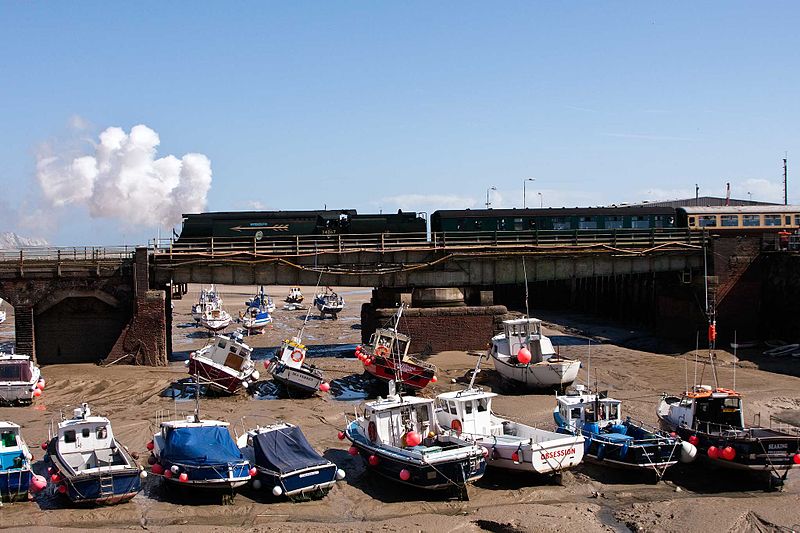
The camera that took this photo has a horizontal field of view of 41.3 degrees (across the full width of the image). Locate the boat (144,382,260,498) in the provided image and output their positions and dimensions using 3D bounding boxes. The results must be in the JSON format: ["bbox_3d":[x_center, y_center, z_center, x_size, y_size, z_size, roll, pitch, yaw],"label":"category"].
[{"bbox_3d":[-8.512,7.433,43.491,2.397,2.680,5.810,2,3,-26],"label":"boat"}]

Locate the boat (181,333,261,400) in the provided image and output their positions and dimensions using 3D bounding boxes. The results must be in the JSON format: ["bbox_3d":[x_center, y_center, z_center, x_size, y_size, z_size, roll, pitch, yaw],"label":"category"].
[{"bbox_3d":[-8.794,4.887,52.021,3.076,2.848,5.081,3,-14,-20],"label":"boat"}]

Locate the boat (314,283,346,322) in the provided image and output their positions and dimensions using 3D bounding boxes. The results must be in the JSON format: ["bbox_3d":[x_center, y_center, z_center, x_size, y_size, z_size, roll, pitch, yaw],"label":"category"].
[{"bbox_3d":[-5.442,2.959,80.849,1.522,1.784,3.644,1,5,-15],"label":"boat"}]

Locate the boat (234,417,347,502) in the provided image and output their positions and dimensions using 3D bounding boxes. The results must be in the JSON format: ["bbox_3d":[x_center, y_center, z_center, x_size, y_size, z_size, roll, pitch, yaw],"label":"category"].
[{"bbox_3d":[-4.847,7.720,42.604,2.472,1.579,3.909,-4,13,-37],"label":"boat"}]

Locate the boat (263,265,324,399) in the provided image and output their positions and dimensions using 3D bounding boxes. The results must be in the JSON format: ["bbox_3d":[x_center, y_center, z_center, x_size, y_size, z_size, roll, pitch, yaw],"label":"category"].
[{"bbox_3d":[-4.887,4.990,51.585,2.184,3.691,2.776,2,-7,2],"label":"boat"}]

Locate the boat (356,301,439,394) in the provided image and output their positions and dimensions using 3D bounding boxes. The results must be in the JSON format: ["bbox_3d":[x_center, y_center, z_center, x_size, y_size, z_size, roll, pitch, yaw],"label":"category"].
[{"bbox_3d":[-0.314,4.510,51.681,2.823,2.200,5.086,11,-2,-12],"label":"boat"}]

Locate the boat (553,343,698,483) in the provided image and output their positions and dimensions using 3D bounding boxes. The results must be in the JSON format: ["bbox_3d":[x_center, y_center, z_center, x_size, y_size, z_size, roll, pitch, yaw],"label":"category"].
[{"bbox_3d":[8.814,6.887,45.647,2.742,3.404,6.590,-1,3,-23],"label":"boat"}]

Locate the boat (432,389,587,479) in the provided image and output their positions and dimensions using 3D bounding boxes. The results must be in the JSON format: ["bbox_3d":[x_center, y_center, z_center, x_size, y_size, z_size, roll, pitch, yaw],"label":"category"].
[{"bbox_3d":[4.088,7.037,44.046,3.209,2.117,5.494,-1,8,-37],"label":"boat"}]

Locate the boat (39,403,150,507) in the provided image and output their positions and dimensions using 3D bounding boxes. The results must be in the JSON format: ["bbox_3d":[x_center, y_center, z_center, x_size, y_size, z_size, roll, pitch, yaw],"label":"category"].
[{"bbox_3d":[-12.261,7.727,42.564,4.833,3.593,8.424,1,-3,-22],"label":"boat"}]

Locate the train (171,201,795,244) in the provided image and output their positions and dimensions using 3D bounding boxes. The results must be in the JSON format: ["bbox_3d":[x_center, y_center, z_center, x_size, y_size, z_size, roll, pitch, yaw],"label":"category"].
[{"bbox_3d":[7.041,-3.052,71.132,41.895,2.547,14.792,0,0,-21],"label":"train"}]

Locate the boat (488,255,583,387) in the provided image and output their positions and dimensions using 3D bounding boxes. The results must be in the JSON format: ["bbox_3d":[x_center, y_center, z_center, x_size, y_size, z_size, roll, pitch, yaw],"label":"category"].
[{"bbox_3d":[6.588,4.317,52.426,2.731,3.354,4.096,-1,1,-37],"label":"boat"}]

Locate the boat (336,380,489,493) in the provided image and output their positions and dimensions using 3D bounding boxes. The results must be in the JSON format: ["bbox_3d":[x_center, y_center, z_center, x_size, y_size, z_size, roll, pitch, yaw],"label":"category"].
[{"bbox_3d":[0.649,7.086,42.942,3.125,2.422,5.706,-7,11,-40],"label":"boat"}]
